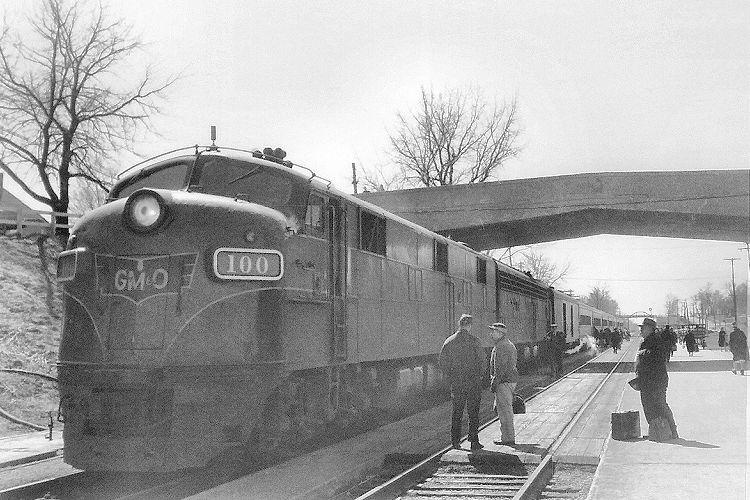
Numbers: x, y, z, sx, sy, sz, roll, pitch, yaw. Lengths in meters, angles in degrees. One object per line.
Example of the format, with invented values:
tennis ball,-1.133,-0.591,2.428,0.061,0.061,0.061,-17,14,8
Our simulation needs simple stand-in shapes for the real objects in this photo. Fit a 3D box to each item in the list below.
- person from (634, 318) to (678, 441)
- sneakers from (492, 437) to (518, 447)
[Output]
person,5.610,2.552,13.282,0.784,2.331,1.399,1,-5,25
sneakers,2.466,3.639,12.665,0.421,0.178,0.147,1,-5,21
